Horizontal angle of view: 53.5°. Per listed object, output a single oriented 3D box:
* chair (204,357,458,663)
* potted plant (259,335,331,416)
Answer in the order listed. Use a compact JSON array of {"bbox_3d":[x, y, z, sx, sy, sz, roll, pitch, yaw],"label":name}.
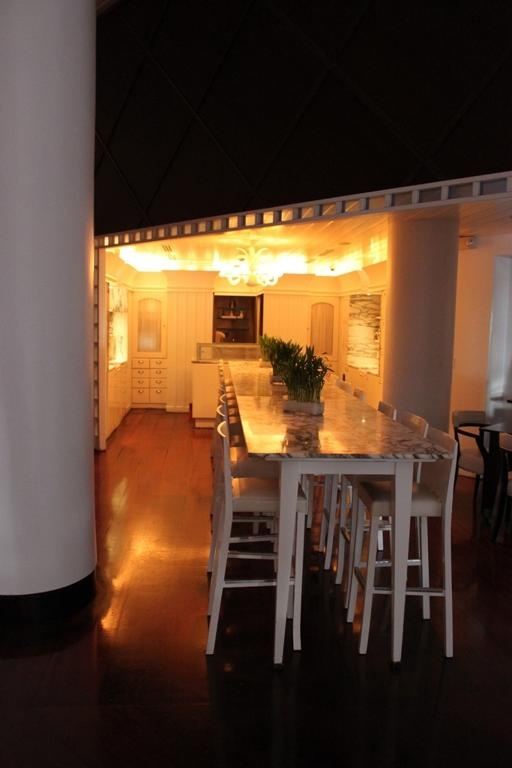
[{"bbox_3d":[0.330,0.652,2.932,1.187,1.103,1.791,1,3,-6],"label":"chair"},{"bbox_3d":[0.272,-0.124,3.863,0.287,0.519,1.222,1,19,-8],"label":"potted plant"}]
